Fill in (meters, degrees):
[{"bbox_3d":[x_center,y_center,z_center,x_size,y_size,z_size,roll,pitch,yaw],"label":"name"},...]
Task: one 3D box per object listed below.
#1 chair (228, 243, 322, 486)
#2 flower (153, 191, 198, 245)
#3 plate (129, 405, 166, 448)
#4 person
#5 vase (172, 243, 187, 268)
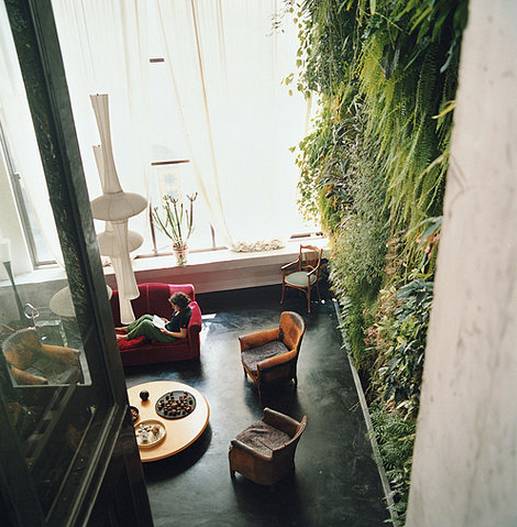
[{"bbox_3d":[0.183,0.940,4.471,0.661,0.728,2.690,2,36,9],"label":"chair"},{"bbox_3d":[-1.282,-0.786,6.807,0.633,0.965,0.644,-1,18,0],"label":"flower"},{"bbox_3d":[-1.000,1.455,3.866,0.256,0.158,0.490,-17,17,-19],"label":"plate"},{"bbox_3d":[-1.258,0.564,5.196,0.926,0.715,0.507,3,35,-3],"label":"person"},{"bbox_3d":[-1.196,-0.128,6.417,0.172,0.337,0.186,21,32,37],"label":"vase"}]
